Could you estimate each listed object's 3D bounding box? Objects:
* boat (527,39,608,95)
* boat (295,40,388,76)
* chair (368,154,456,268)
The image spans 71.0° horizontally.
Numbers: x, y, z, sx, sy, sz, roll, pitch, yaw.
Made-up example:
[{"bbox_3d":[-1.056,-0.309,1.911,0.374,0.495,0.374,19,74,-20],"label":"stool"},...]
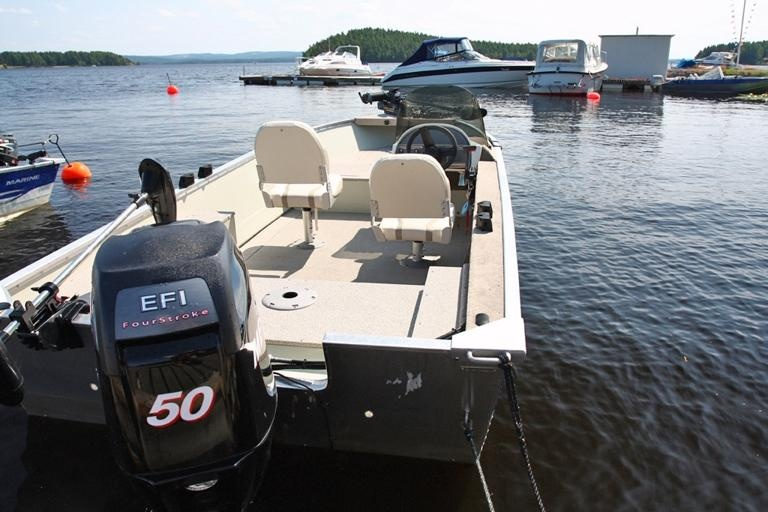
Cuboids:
[{"bbox_3d":[8.798,-9.051,25.843,3.460,2.551,2.581,-1,21,5],"label":"boat"},{"bbox_3d":[-3.814,-15.064,41.838,5.100,2.182,2.217,-3,21,1],"label":"boat"},{"bbox_3d":[0.248,-0.386,4.274,0.603,0.962,0.875,1,22,11],"label":"chair"}]
